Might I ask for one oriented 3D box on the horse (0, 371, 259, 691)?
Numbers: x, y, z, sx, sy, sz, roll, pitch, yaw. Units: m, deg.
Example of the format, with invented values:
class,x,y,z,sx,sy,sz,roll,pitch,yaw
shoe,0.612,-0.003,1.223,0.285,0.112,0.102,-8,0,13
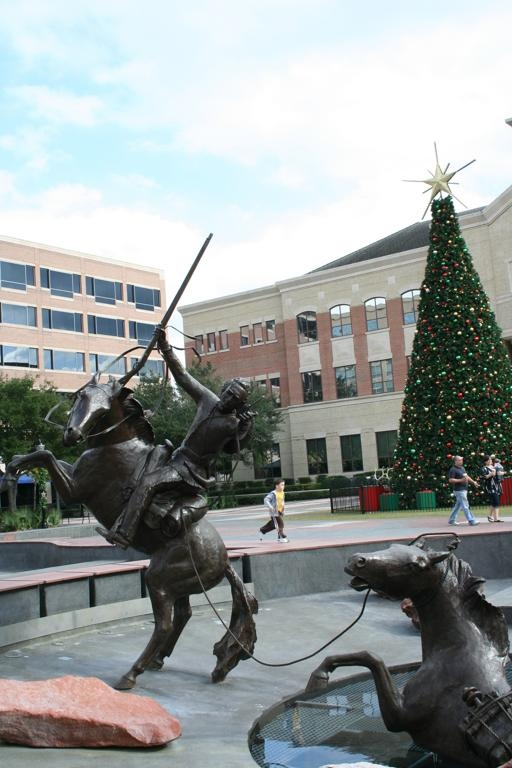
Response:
class,x,y,z,sx,sy,sz,roll,pitch,yaw
horse,-0.804,1.104,5.432,1.622,2.250,0.858,1,-10,-29
